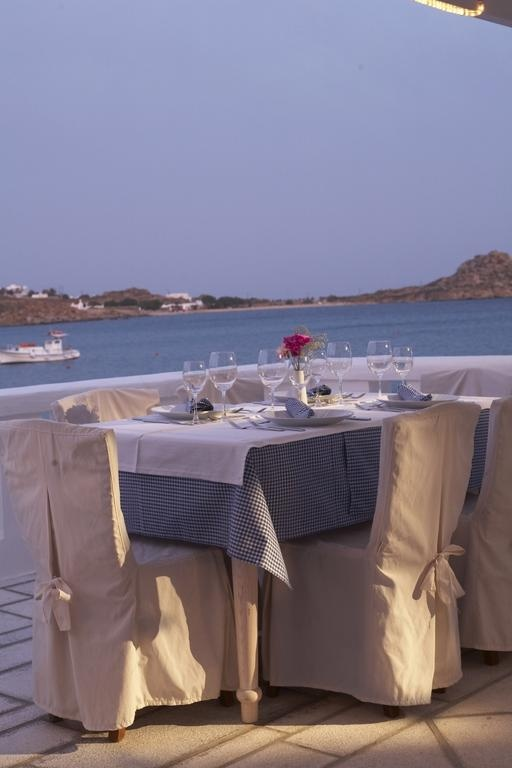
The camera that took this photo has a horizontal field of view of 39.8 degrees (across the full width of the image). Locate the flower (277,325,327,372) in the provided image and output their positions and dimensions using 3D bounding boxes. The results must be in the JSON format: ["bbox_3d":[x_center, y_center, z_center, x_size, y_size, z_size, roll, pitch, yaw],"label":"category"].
[{"bbox_3d":[0.126,-0.094,1.941,0.125,0.133,0.121,0,1,3],"label":"flower"}]

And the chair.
[{"bbox_3d":[0.032,0.372,1.581,1.085,0.709,0.486,-6,9,-15],"label":"chair"}]

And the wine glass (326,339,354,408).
[{"bbox_3d":[0.247,-0.036,2.072,0.088,0.202,0.089,12,30,30],"label":"wine glass"}]
